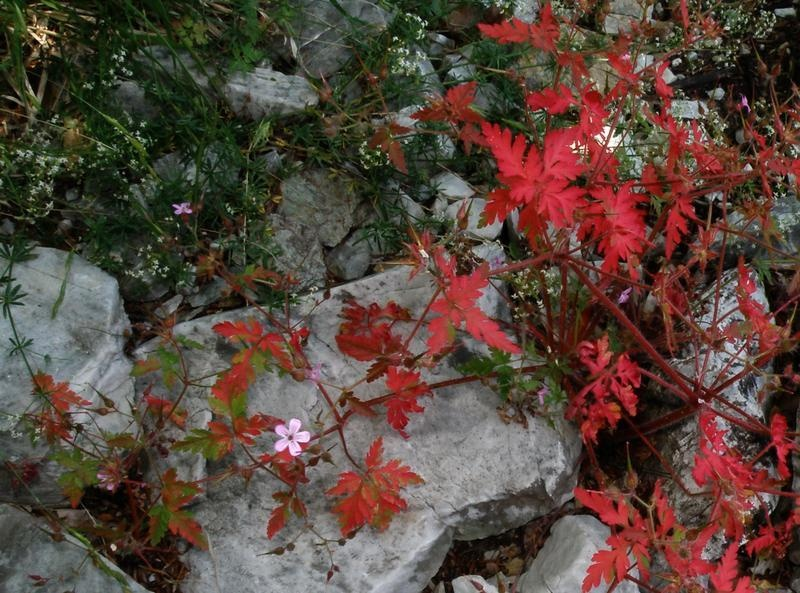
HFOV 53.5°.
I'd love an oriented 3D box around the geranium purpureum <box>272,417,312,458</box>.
[{"bbox_3d":[-0.490,0.627,3.540,0.157,0.047,0.177,18,57,21],"label":"geranium purpureum"}]
